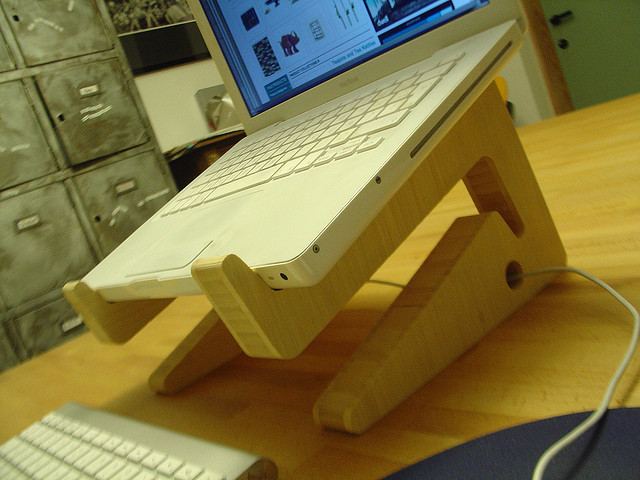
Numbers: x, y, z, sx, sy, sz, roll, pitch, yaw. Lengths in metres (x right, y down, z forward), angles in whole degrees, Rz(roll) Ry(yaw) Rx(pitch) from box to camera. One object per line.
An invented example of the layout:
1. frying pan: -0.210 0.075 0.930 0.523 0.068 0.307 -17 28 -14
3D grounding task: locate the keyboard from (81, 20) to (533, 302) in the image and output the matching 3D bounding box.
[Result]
1. keyboard: -0.048 -0.067 0.553 0.463 0.137 0.341 0 30 43

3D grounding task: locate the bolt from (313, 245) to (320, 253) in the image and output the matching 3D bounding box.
1. bolt: -0.003 0.006 0.373 0.006 0.006 0.001 -3 0 -20

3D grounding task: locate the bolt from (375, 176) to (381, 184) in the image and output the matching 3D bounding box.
1. bolt: 0.045 -0.048 0.393 0.005 0.006 0.002 7 3 9
